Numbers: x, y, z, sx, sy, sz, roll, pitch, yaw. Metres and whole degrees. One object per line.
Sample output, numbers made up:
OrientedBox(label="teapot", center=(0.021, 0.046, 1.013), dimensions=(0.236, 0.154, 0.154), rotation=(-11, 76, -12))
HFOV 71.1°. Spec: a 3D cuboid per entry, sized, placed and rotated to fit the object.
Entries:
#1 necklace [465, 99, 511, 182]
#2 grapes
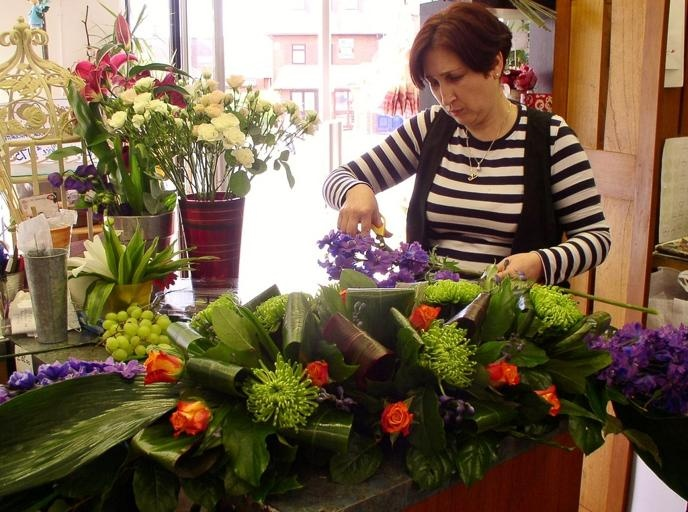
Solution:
OrientedBox(label="necklace", center=(0.546, -0.408, 1.786), dimensions=(0.158, 0.310, 0.053), rotation=(22, 11, 30))
OrientedBox(label="grapes", center=(-0.473, 0.145, 1.051), dimensions=(0.121, 0.097, 0.115), rotation=(6, 2, 45))
